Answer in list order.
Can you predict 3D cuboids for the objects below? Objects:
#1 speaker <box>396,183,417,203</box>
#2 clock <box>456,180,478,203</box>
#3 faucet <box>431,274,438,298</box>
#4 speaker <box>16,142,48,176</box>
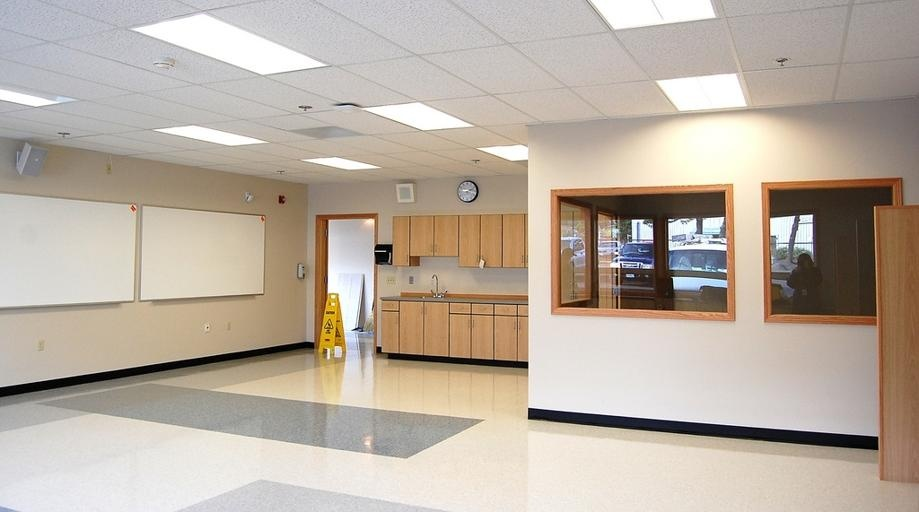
[{"bbox_3d":[-1.103,-1.335,11.880,0.525,0.398,0.184,0,2,19],"label":"speaker"},{"bbox_3d":[0.179,-1.316,11.587,0.424,0.475,0.134,4,10,25],"label":"clock"},{"bbox_3d":[-0.509,0.592,11.890,0.133,0.416,0.181,-7,11,-34],"label":"faucet"},{"bbox_3d":[-6.625,-1.520,8.779,0.357,0.558,0.442,25,4,-20],"label":"speaker"}]
